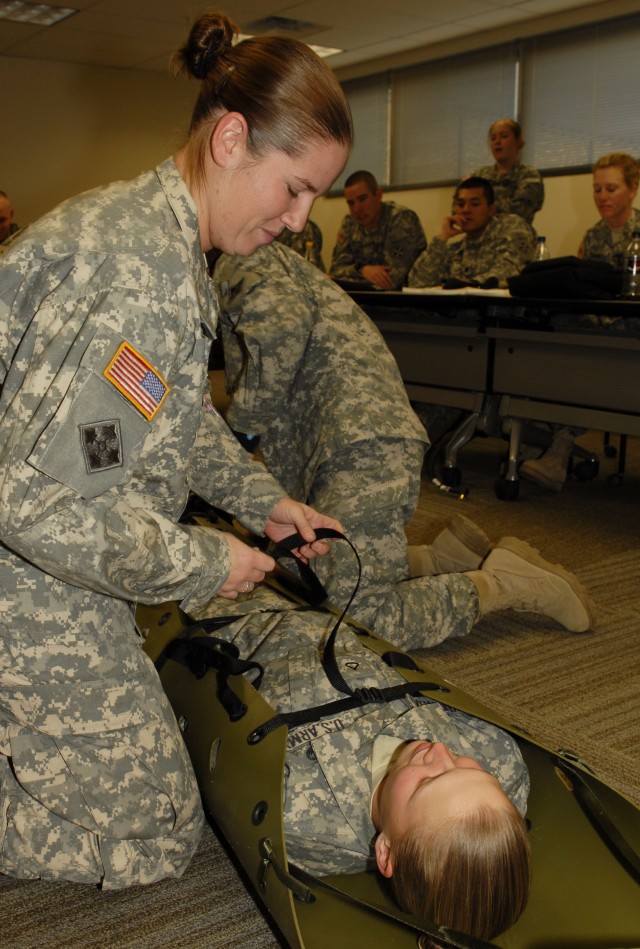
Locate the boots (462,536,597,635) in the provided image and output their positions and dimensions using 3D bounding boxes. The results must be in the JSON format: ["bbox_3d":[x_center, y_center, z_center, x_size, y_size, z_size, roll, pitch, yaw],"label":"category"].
[{"bbox_3d":[0.490,0.274,2.150,0.592,0.249,0.185,1,-28,-43],"label":"boots"}]

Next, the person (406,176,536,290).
[{"bbox_3d":[0.867,-1.371,4.591,0.593,0.735,0.832,4,17,36],"label":"person"}]

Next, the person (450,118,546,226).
[{"bbox_3d":[1.164,-1.909,5.110,0.537,0.751,0.472,4,10,33],"label":"person"}]

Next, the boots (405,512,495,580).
[{"bbox_3d":[0.347,0.202,2.236,0.242,0.198,0.149,-6,12,-21],"label":"boots"}]
